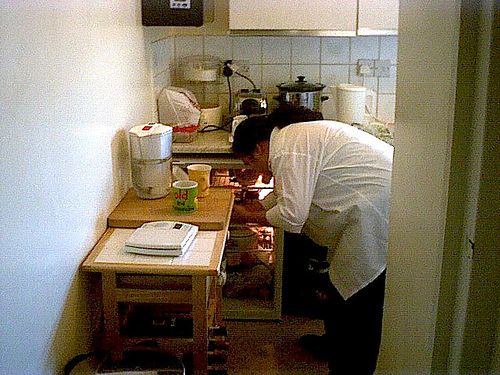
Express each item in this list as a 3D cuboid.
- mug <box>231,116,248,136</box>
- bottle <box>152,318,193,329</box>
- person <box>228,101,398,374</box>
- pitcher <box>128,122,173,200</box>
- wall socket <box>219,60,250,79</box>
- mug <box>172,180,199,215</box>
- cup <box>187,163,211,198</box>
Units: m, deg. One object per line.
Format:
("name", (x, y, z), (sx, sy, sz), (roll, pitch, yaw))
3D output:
("mug", (-0.014, -0.371, 2.564), (0.118, 0.187, 0.107), (-1, 7, 3))
("bottle", (-0.264, 0.459, 1.459), (0.131, 0.017, 0.047), (-5, 19, -10))
("person", (0.343, 0.254, 2.254), (0.731, 1.319, 0.474), (6, 20, 21))
("pitcher", (-0.397, -0.109, 1.733), (0.152, 0.329, 0.155), (-2, 18, -12))
("wall socket", (-0.106, -0.803, 2.922), (0.202, 0.124, 0.128), (-2, 18, -1))
("mug", (-0.246, 0.036, 1.679), (0.095, 0.124, 0.094), (10, 22, 18))
("cup", (-0.218, -0.025, 1.835), (0.106, 0.115, 0.111), (-1, 5, 0))
